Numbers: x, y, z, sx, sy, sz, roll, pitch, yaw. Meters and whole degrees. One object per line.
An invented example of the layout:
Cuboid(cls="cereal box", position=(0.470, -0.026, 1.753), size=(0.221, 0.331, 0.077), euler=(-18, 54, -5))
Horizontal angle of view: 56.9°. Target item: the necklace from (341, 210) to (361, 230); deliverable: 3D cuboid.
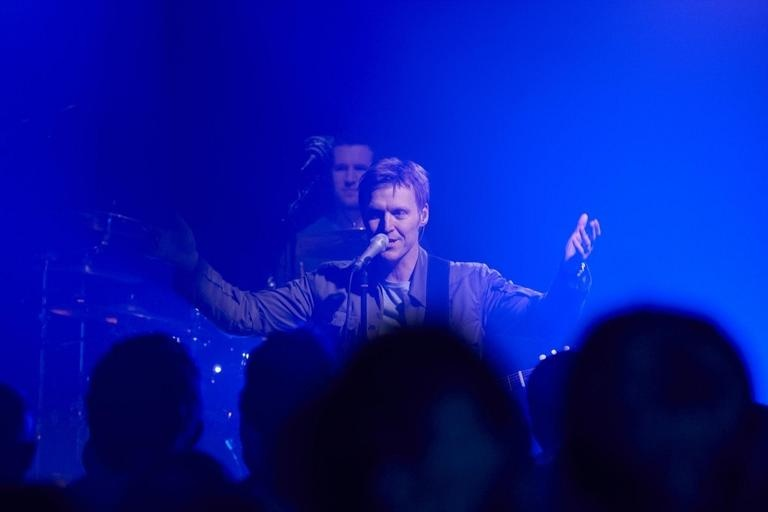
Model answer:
Cuboid(cls="necklace", position=(-0.201, -0.227, 4.585), size=(0.095, 0.129, 0.112), euler=(2, 24, 19))
